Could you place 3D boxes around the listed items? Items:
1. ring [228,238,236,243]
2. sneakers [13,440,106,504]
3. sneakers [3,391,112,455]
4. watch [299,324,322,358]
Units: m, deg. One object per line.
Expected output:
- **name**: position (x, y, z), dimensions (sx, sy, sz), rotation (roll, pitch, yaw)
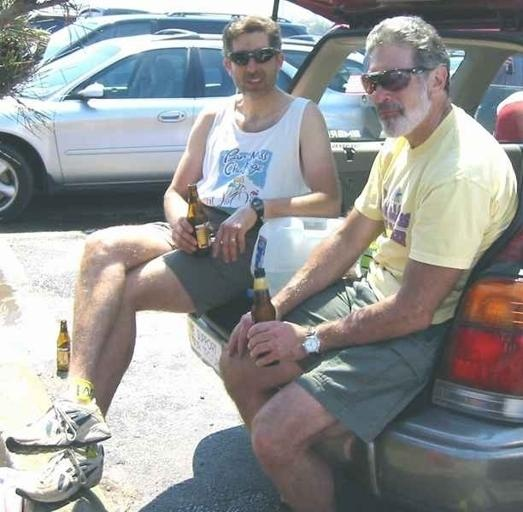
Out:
- **ring**: position (-0.137, -0.073, 2.483), dimensions (0.033, 0.036, 0.008), rotation (-2, 23, 4)
- **sneakers**: position (-0.650, 0.727, 1.837), dimensions (0.131, 0.146, 0.292), rotation (34, 23, 23)
- **sneakers**: position (-0.680, 0.581, 1.946), dimensions (0.386, 0.218, 0.161), rotation (-2, -13, -14)
- **watch**: position (0.170, 0.314, 1.979), dimensions (0.054, 0.098, 0.087), rotation (2, -2, 0)
